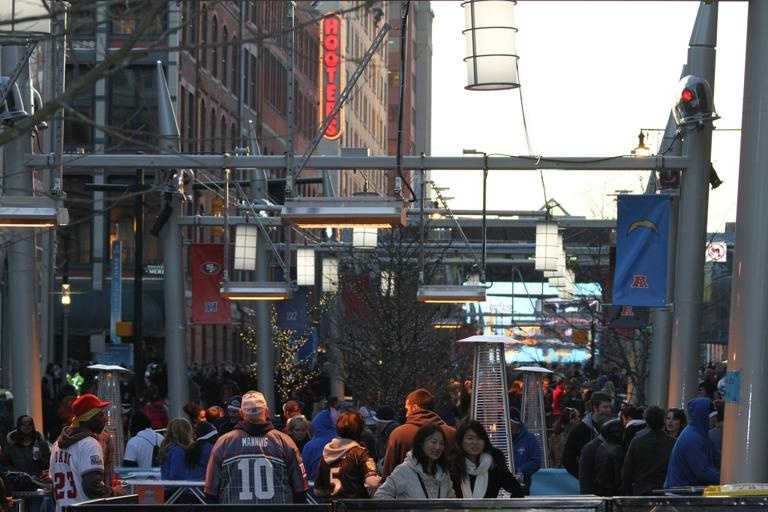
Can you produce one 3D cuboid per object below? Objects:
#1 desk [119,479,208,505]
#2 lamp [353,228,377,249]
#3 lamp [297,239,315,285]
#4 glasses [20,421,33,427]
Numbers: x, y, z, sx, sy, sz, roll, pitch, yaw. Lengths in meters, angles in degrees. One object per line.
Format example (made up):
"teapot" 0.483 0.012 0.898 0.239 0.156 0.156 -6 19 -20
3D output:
"desk" -4.319 4.785 41.829 1.863 0.611 0.417 0 3 14
"lamp" -0.438 -0.446 52.564 0.552 0.489 0.536 -2 -3 22
"lamp" -2.078 0.252 56.365 0.455 0.994 0.397 -2 -8 2
"glasses" -7.304 3.516 43.139 0.137 0.096 0.137 -8 -8 25
